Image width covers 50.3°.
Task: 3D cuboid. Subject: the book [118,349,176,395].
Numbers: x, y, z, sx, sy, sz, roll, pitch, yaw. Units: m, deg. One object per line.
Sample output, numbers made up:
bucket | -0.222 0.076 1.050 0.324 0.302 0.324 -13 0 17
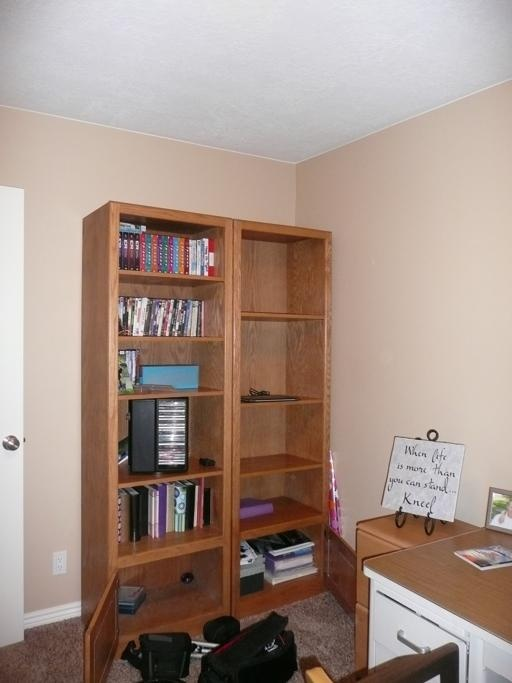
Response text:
book | -0.528 0.137 2.456 0.184 0.189 0.325 0 3 33

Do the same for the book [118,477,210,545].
book | -0.424 0.785 2.540 0.468 0.242 0.131 -3 3 -35

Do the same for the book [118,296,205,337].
book | -0.418 -0.104 2.458 0.095 0.182 0.485 0 3 37

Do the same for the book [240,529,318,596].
book | 0.095 1.126 2.795 0.308 0.106 0.233 -6 8 -27

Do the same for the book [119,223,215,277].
book | -0.402 -0.406 2.464 0.497 0.217 0.102 -4 3 -40

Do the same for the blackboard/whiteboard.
blackboard/whiteboard | 0.665 0.547 2.132 0.035 0.366 0.324 23 -20 -35
